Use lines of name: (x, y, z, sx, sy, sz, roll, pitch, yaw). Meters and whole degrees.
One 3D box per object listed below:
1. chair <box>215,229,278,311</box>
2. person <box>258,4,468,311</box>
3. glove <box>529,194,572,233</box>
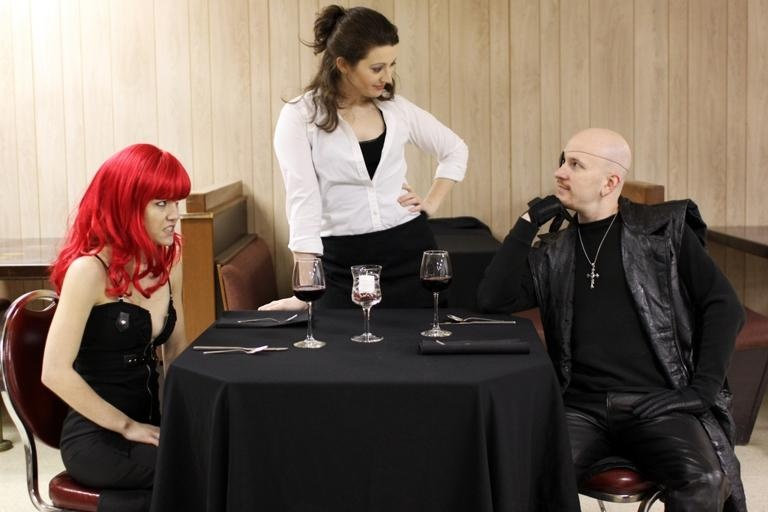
chair: (-0.822, 0.113, 3.780, 0.288, 0.409, 0.957, -1, 17, -3)
person: (-0.062, -0.435, 2.814, 0.834, 1.307, 0.362, -3, 10, -12)
glove: (0.663, -0.189, 2.448, 0.141, 0.154, 0.068, -17, 40, 29)
